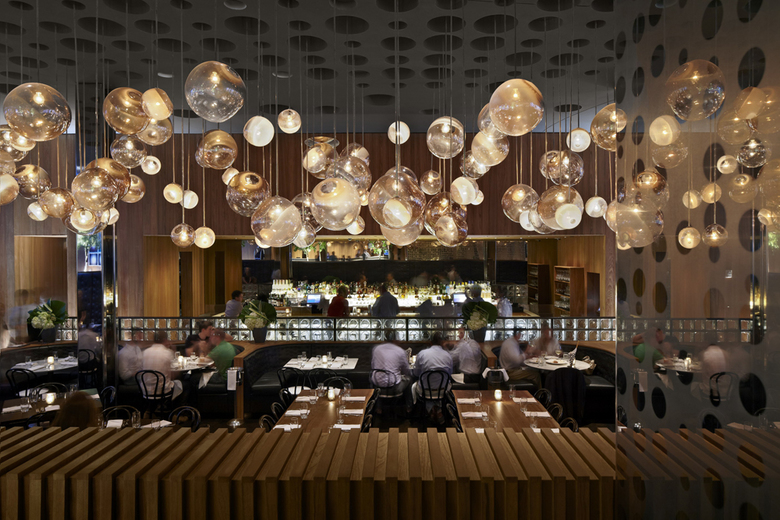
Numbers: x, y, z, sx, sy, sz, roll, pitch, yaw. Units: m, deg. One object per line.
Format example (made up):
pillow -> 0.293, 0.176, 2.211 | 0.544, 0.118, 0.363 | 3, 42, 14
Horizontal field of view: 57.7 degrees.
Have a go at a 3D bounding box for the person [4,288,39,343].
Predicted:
person -> -6.328, 0.931, 12.060 | 0.305, 0.872, 0.823 | 0, 4, -6

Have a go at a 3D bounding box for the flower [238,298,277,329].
flower -> -1.900, 0.758, 10.304 | 0.570, 0.451, 0.321 | -3, 5, -44

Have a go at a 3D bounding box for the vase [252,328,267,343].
vase -> -1.902, 1.075, 10.335 | 0.206, 0.198, 0.182 | 1, 7, -17

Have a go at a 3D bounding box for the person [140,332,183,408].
person -> -3.026, 1.245, 9.343 | 0.502, 0.798, 0.458 | 2, 37, -24

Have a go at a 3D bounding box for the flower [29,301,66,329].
flower -> -5.279, 0.895, 10.780 | 0.461, 0.220, 0.462 | -4, 15, 9

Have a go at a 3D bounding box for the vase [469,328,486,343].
vase -> 1.313, 1.079, 10.516 | 0.229, 0.273, 0.219 | 2, 6, 10

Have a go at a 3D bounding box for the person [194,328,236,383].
person -> -2.421, 1.314, 9.790 | 0.435, 0.830, 0.374 | 15, 12, 16

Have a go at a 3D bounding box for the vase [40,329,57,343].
vase -> -5.279, 1.157, 10.955 | 0.191, 0.184, 0.188 | 3, -4, 23

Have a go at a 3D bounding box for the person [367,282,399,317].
person -> -0.046, 0.621, 11.152 | 0.457, 0.773, 0.416 | 0, 5, -10

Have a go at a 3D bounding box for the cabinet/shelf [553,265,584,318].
cabinet/shelf -> 3.334, 0.570, 13.071 | 0.189, 0.748, 0.657 | 1, -16, 1
